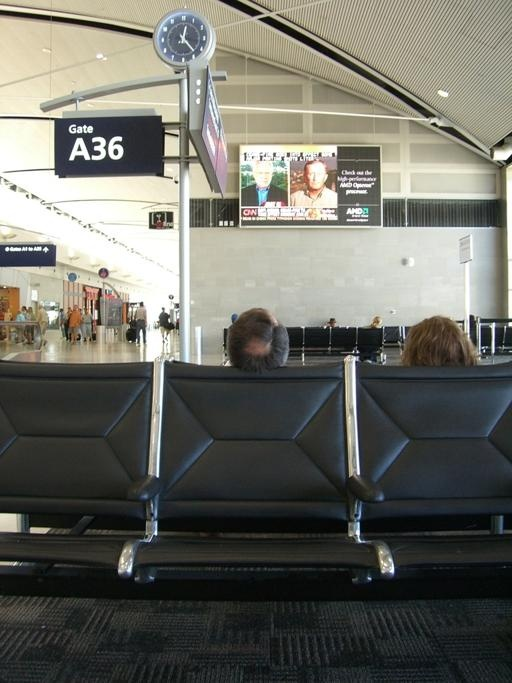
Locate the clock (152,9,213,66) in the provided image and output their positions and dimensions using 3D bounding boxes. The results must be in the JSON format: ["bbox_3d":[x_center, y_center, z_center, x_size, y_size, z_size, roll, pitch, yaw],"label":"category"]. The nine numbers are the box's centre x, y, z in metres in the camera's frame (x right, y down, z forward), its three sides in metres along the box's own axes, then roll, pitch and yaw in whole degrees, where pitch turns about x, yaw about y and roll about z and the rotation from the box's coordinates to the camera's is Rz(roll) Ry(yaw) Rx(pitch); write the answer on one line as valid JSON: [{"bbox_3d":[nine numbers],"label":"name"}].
[{"bbox_3d":[-0.460,-1.868,3.377,0.363,0.411,0.185,3,7,15],"label":"clock"}]
